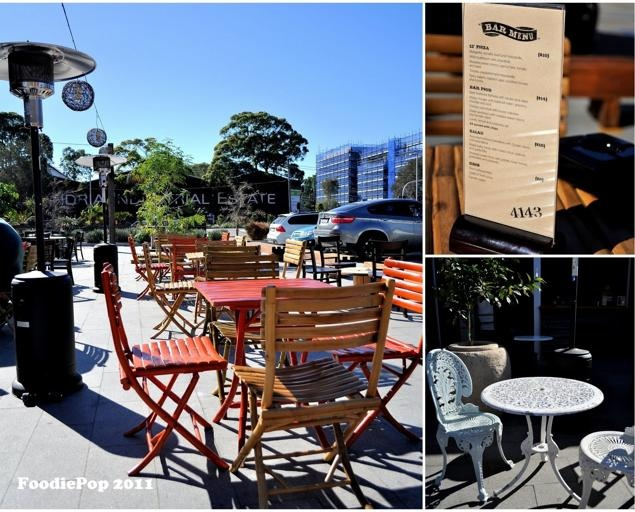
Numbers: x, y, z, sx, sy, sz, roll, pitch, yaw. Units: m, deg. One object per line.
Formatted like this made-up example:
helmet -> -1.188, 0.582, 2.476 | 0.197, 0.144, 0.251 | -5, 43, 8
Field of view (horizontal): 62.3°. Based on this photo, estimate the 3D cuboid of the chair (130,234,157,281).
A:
chair -> -3.472, 0.020, 10.437 | 0.575, 0.951, 1.591 | -1, 7, -15

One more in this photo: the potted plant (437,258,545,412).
potted plant -> 0.772, 0.306, 2.480 | 0.523, 0.623, 0.488 | 9, 15, 41

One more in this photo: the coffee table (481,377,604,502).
coffee table -> 1.072, 0.823, 2.642 | 0.536, 0.486, 0.557 | 0, -7, -32

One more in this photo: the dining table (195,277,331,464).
dining table -> -0.378, 0.667, 3.772 | 0.990, 0.986, 0.991 | -1, 10, -12

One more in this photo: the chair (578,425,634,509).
chair -> 1.352, 0.984, 2.466 | 0.268, 0.356, 0.147 | 0, 9, 4

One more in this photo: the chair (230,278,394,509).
chair -> -0.020, 0.677, 2.696 | 0.710, 1.172, 0.536 | -4, 10, -23

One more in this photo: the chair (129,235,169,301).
chair -> -2.791, 0.216, 8.683 | 0.467, 0.759, 1.279 | -3, 9, -17

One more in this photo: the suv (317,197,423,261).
suv -> 1.165, -0.648, 11.754 | 2.472, 0.905, 1.133 | -4, 4, -23
